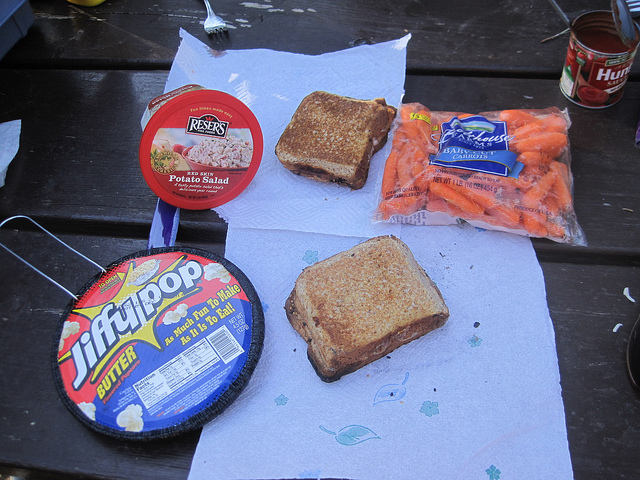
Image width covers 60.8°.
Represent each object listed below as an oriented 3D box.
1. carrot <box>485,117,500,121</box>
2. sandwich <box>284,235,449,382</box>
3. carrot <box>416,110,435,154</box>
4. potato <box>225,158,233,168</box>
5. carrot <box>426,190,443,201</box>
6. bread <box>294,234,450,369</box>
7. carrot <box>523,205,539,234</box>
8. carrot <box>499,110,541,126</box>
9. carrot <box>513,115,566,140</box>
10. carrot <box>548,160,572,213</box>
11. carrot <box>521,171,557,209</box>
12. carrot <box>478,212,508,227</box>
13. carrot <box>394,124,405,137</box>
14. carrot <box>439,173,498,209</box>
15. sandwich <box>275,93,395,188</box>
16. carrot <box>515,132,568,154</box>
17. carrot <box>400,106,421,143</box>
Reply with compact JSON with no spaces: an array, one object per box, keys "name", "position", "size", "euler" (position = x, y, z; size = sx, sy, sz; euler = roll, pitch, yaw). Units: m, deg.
[{"name":"carrot","position":[0.422,-0.296,1.334],"size":[0.032,0.007,0.009],"euler":[19,53,45]},{"name":"sandwich","position":[0.100,0.141,1.207],"size":[0.326,0.093,0.258],"euler":[-26,60,-24]},{"name":"carrot","position":[0.260,-0.263,1.337],"size":[0.035,0.044,0.112],"euler":[-14,79,7]},{"name":"potato","position":[-0.223,-0.190,1.348],"size":[0.014,0.008,0.021],"euler":[-10,62,-4]},{"name":"carrot","position":[0.272,-0.111,1.288],"size":[0.022,0.023,0.022],"euler":[18,29,28]},{"name":"bread","position":[0.107,0.133,1.189],"size":[0.293,0.086,0.232],"euler":[-21,63,-7]},{"name":"carrot","position":[0.479,-0.047,1.236],"size":[0.049,0.013,0.051],"euler":[-10,79,8]},{"name":"carrot","position":[0.486,-0.295,1.316],"size":[0.081,0.025,0.041],"euler":[10,63,7]},{"name":"carrot","position":[0.519,-0.265,1.284],"size":[0.103,0.025,0.058],"euler":[-14,53,-8]},{"name":"carrot","position":[0.549,-0.115,1.250],"size":[0.034,0.032,0.129],"euler":[-2,83,1]},{"name":"carrot","position":[0.502,-0.116,1.249],"size":[0.033,0.028,0.106],"euler":[39,69,20]},{"name":"carrot","position":[0.396,-0.047,1.258],"size":[0.045,0.032,0.011],"euler":[29,104,13]},{"name":"carrot","position":[0.200,-0.272,1.354],"size":[0.016,0.005,0.024],"euler":[20,82,14]},{"name":"carrot","position":[0.335,-0.142,1.262],"size":[0.040,0.156,0.039],"euler":[9,87,-35]},{"name":"sandwich","position":[0.050,-0.286,1.412],"size":[0.263,0.100,0.324],"euler":[9,59,17]},{"name":"carrot","position":[0.514,-0.225,1.268],"size":[0.120,0.025,0.042],"euler":[-10,61,-5]},{"name":"carrot","position":[0.222,-0.293,1.354],"size":[0.031,0.028,0.107],"euler":[-5,69,0]}]
